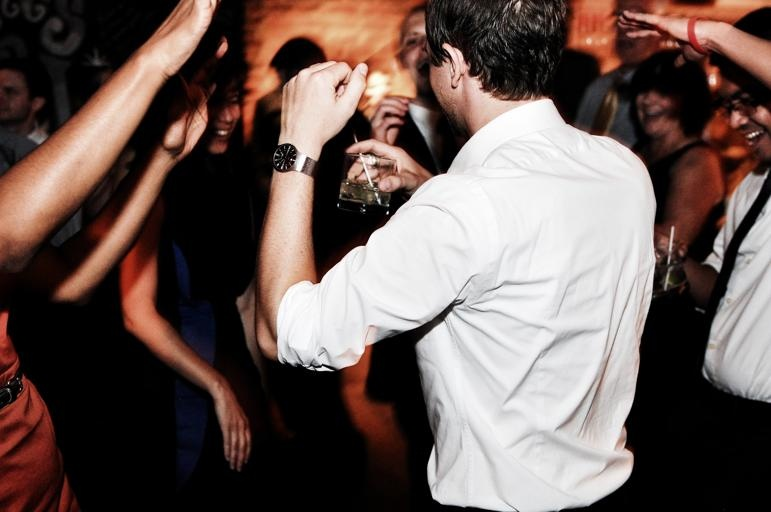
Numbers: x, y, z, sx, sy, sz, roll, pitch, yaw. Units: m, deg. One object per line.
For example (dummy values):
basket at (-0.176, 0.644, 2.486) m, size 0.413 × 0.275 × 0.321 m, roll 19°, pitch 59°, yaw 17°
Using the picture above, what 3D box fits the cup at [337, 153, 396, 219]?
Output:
cup at (-0.071, -0.292, 3.236) m, size 0.234 × 0.258 × 0.230 m, roll 8°, pitch 5°, yaw -1°

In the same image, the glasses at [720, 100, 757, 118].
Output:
glasses at (1.584, -0.672, 3.444) m, size 0.078 × 0.022 × 0.078 m, roll 20°, pitch -16°, yaw -19°

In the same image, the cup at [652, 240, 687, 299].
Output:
cup at (1.234, 0.067, 3.414) m, size 0.097 × 0.269 × 0.186 m, roll 19°, pitch -11°, yaw -27°
